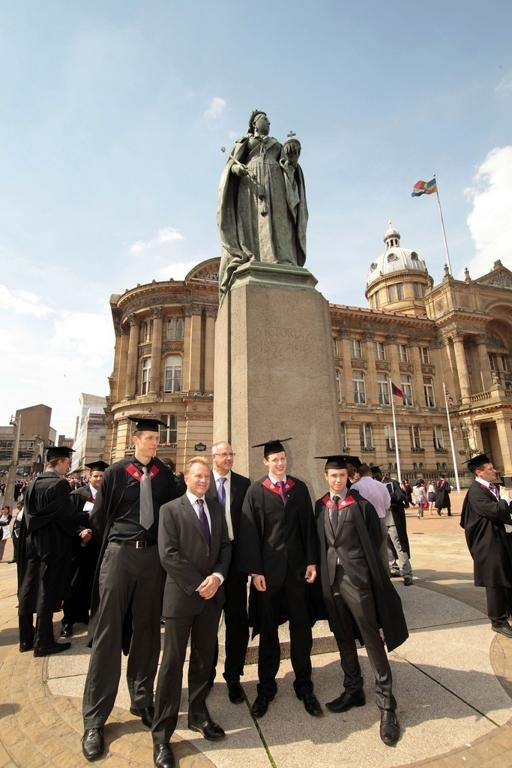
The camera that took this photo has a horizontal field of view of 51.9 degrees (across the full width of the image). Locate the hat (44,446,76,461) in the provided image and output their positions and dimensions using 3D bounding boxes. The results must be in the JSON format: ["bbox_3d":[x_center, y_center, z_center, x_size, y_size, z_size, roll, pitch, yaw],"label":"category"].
[{"bbox_3d":[-2.162,0.727,5.890,0.258,0.104,0.296,-6,-18,19],"label":"hat"}]

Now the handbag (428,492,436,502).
[{"bbox_3d":[7.160,4.715,22.595,0.314,0.468,0.259,4,-25,-9],"label":"handbag"}]

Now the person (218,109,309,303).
[{"bbox_3d":[0.064,-2.707,7.369,1.102,2.928,0.957,-2,-22,1],"label":"person"}]

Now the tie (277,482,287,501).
[{"bbox_3d":[0.194,0.867,4.393,0.041,0.127,0.090,-7,-14,7],"label":"tie"}]
